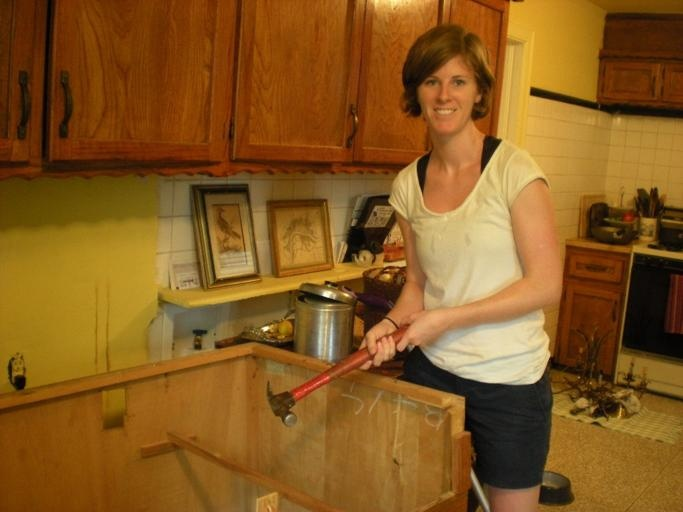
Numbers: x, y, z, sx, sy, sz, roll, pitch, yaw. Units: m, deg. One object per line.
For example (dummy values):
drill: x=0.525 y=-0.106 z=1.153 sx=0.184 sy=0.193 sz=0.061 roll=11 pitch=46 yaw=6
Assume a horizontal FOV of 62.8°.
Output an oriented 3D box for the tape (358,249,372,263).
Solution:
tape: x=0.133 y=0.003 z=3.097 sx=0.056 sy=0.053 sz=0.077 roll=0 pitch=-2 yaw=6

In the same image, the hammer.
hammer: x=-0.011 y=0.270 z=1.308 sx=0.271 sy=0.178 sz=0.230 roll=-2 pitch=16 yaw=-28

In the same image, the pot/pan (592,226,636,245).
pot/pan: x=2.283 y=-0.175 z=4.665 sx=0.331 sy=0.141 sz=0.256 roll=9 pitch=12 yaw=26

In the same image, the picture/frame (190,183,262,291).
picture/frame: x=-0.527 y=-0.091 z=2.577 sx=0.044 sy=0.459 sz=0.361 roll=-5 pitch=3 yaw=33

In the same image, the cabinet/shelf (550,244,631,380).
cabinet/shelf: x=2.145 y=0.463 z=4.830 sx=0.580 sy=1.104 sz=0.600 roll=8 pitch=9 yaw=38

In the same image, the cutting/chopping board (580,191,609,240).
cutting/chopping board: x=2.236 y=-0.340 z=4.945 sx=0.057 sy=0.453 sz=0.445 roll=1 pitch=3 yaw=40
